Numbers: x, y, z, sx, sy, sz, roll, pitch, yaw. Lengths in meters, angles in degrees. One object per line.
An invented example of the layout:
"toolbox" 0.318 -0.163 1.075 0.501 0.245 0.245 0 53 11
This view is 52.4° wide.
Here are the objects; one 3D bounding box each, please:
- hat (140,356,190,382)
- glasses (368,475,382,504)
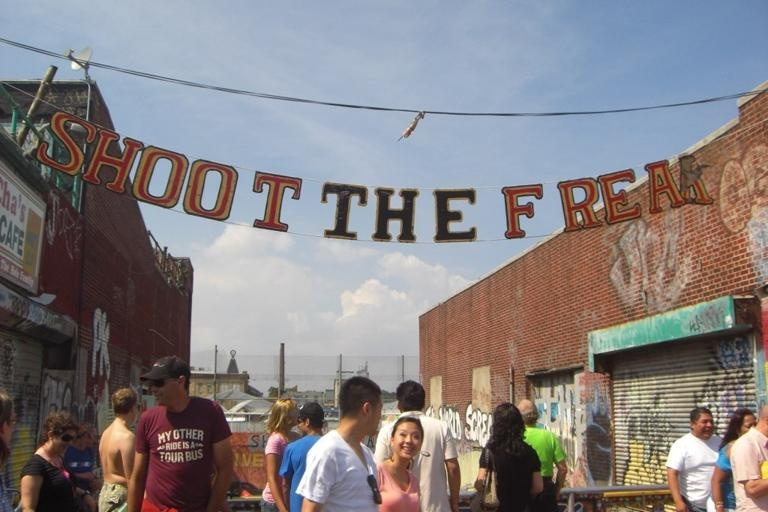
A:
"hat" -2.931 1.562 10.586 0.477 0.322 0.364 12 -18 -21
"glasses" -0.106 2.802 9.335 0.062 0.308 0.205 -18 -18 28
